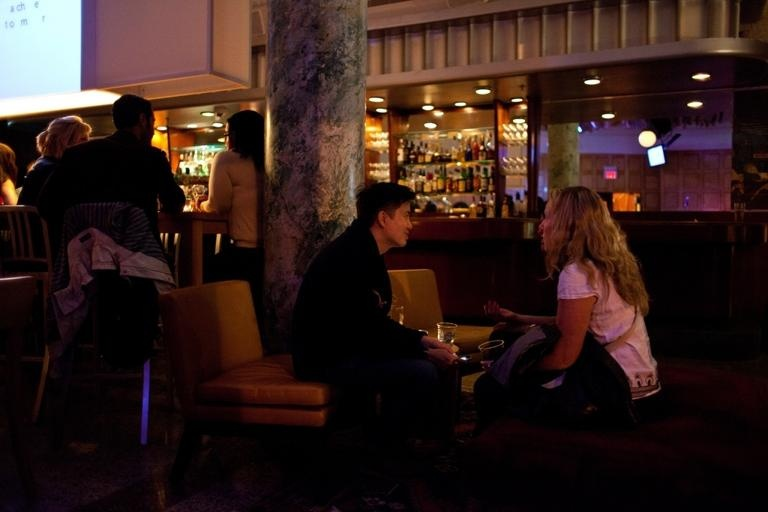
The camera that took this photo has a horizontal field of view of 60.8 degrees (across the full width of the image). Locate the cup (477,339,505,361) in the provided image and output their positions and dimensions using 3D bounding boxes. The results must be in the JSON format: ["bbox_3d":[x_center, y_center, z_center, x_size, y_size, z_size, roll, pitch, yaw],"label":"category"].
[{"bbox_3d":[0.596,0.517,3.644,0.136,0.095,0.118,-4,5,10],"label":"cup"}]

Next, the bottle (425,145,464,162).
[{"bbox_3d":[0.803,-1.340,8.637,0.544,0.214,0.184,6,15,22],"label":"bottle"}]

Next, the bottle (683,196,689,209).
[{"bbox_3d":[6.552,-1.175,14.283,0.112,0.233,0.134,4,15,19],"label":"bottle"}]

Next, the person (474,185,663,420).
[{"bbox_3d":[0.986,0.231,3.246,0.764,1.065,0.683,8,16,30],"label":"person"}]

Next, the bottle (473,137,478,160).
[{"bbox_3d":[1.181,-1.381,8.473,0.068,0.255,0.169,1,14,4],"label":"bottle"}]

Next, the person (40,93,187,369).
[{"bbox_3d":[-1.653,-0.193,4.104,0.842,1.560,0.808,-6,15,-21],"label":"person"}]

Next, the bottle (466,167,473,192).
[{"bbox_3d":[1.104,-0.993,8.465,0.089,0.289,0.183,1,14,7],"label":"bottle"}]

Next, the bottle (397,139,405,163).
[{"bbox_3d":[0.225,-1.409,8.794,0.096,0.296,0.159,-1,14,-1],"label":"bottle"}]

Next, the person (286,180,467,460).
[{"bbox_3d":[-0.072,0.314,3.761,0.927,1.436,0.618,3,12,7],"label":"person"}]

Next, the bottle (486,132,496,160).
[{"bbox_3d":[1.346,-1.399,8.340,0.106,0.334,0.284,1,14,6],"label":"bottle"}]

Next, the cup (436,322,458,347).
[{"bbox_3d":[0.394,0.472,3.954,0.145,0.128,0.156,1,-5,0],"label":"cup"}]

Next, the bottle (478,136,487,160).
[{"bbox_3d":[1.263,-1.383,8.408,0.095,0.267,0.225,1,14,7],"label":"bottle"}]

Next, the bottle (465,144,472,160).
[{"bbox_3d":[1.089,-1.343,8.501,0.091,0.189,0.131,-1,14,-2],"label":"bottle"}]

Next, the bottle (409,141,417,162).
[{"bbox_3d":[0.383,-1.380,8.793,0.091,0.255,0.196,0,14,0],"label":"bottle"}]
